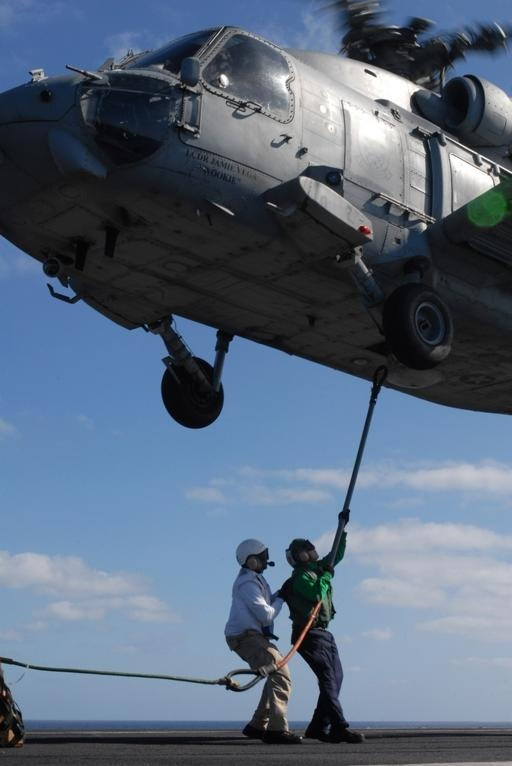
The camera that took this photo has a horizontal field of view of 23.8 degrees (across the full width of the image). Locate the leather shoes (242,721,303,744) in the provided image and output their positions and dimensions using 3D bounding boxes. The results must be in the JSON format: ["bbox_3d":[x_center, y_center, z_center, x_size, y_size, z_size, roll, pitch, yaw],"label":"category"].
[{"bbox_3d":[0.062,3.400,11.778,0.709,0.233,0.221,0,-7,16],"label":"leather shoes"}]
